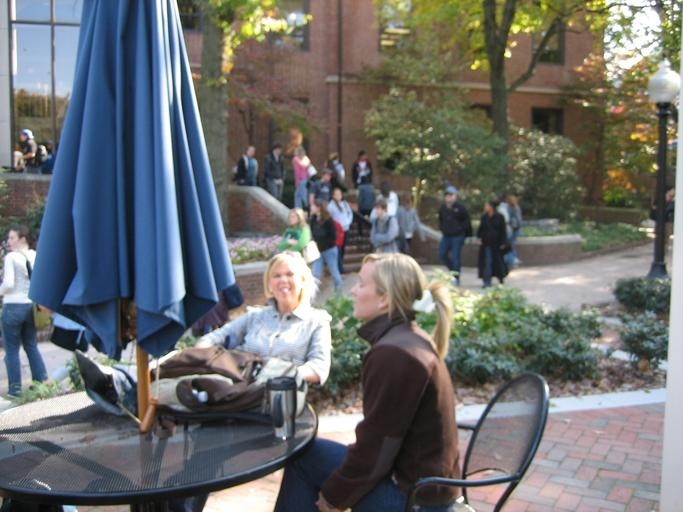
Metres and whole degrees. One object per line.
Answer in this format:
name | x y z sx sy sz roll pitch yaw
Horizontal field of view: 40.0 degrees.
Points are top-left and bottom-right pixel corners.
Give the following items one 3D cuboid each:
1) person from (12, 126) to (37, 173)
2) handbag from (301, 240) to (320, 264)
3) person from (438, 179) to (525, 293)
person | -6.494 -2.081 19.366 0.370 1.062 0.445 -4 23 -24
handbag | -0.447 -0.077 13.548 0.194 0.198 0.351 44 9 -15
person | 2.294 -0.261 15.031 1.349 2.016 0.708 -7 -15 34
